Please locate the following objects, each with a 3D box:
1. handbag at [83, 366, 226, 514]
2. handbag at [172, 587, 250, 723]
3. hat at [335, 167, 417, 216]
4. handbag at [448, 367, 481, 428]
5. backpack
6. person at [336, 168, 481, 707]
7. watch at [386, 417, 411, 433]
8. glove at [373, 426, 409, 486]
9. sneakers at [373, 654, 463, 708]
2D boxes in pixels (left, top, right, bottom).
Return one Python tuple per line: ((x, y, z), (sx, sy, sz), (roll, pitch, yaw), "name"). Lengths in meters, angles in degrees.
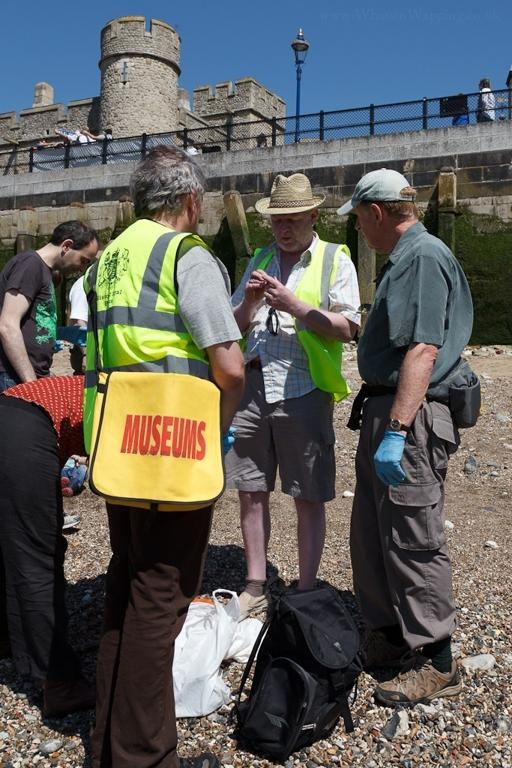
((-0.279, 0.155, 2.092), (0.418, 0.416, 0.164), (2, -17, -3), "handbag")
((-0.212, 1.041, 2.808), (0.251, 0.367, 0.125), (4, -34, -9), "handbag")
((0.482, -0.771, 2.953), (0.265, 0.149, 0.178), (7, 14, 22), "hat")
((0.796, 0.054, 2.818), (0.115, 0.212, 0.211), (-1, 8, 4), "handbag")
((0.166, 0.935, 2.693), (0.419, 0.628, 0.646), (1, 3, 31), "backpack")
((0.612, 0.158, 2.838), (0.492, 1.996, 0.622), (1, 8, 3), "person")
((0.508, 0.150, 2.602), (0.065, 0.042, 0.069), (8, 0, 5), "watch")
((0.476, 0.261, 2.601), (0.073, 0.187, 0.133), (2, 9, -24), "glove")
((0.615, 1.130, 2.803), (0.359, 0.154, 0.120), (-2, -7, -14), "sneakers")
